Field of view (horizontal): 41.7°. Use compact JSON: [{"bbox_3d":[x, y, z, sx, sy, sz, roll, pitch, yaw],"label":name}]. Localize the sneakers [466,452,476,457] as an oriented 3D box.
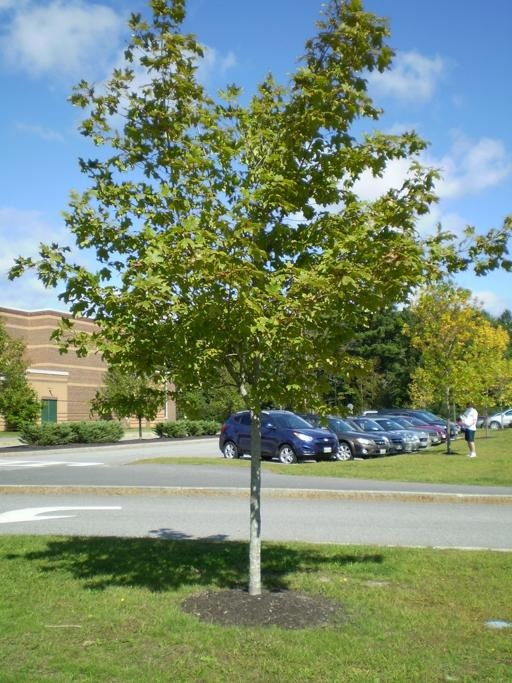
[{"bbox_3d":[6.769,3.585,21.058,0.229,0.111,0.339,-8,-12,35],"label":"sneakers"}]
